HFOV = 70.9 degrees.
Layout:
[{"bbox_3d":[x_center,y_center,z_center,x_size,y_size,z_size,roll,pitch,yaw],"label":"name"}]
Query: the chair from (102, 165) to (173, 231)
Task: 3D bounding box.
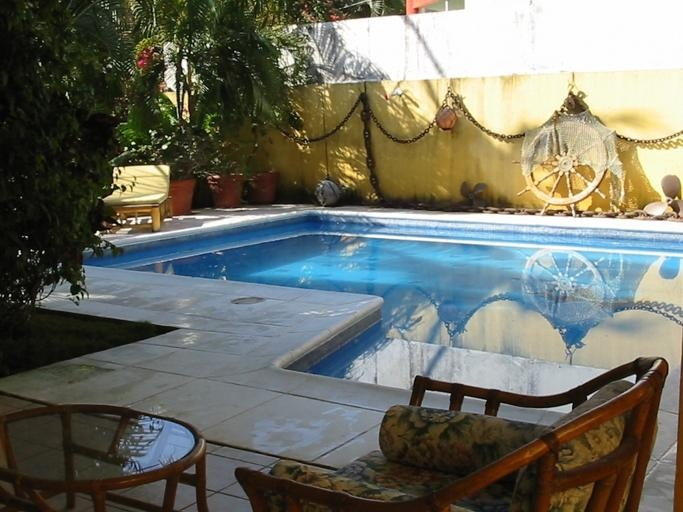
[{"bbox_3d":[-3.473,-1.002,8.205,0.969,0.749,1.268,-1,20,-14],"label":"chair"}]
